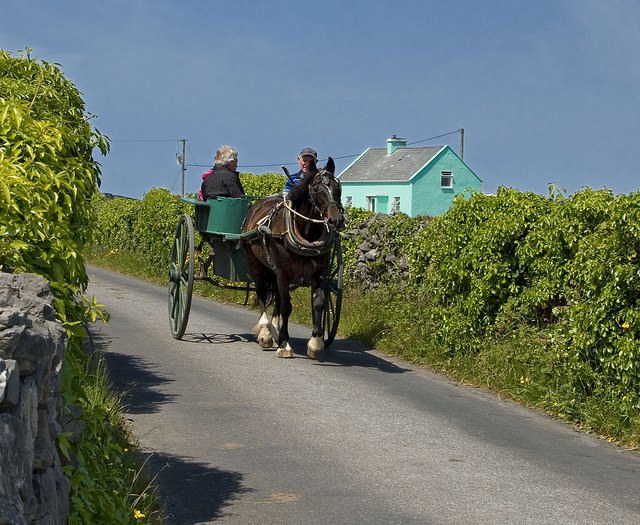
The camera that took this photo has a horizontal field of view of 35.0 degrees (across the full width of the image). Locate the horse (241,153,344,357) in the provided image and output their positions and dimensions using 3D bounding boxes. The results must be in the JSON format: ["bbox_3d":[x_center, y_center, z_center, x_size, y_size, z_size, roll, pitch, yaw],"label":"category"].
[{"bbox_3d":[-0.414,0.017,12.360,0.807,2.278,2.998,-1,1,-23],"label":"horse"}]

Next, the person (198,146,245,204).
[{"bbox_3d":[-1.278,-1.159,13.425,0.587,0.728,0.751,1,7,-6],"label":"person"}]
